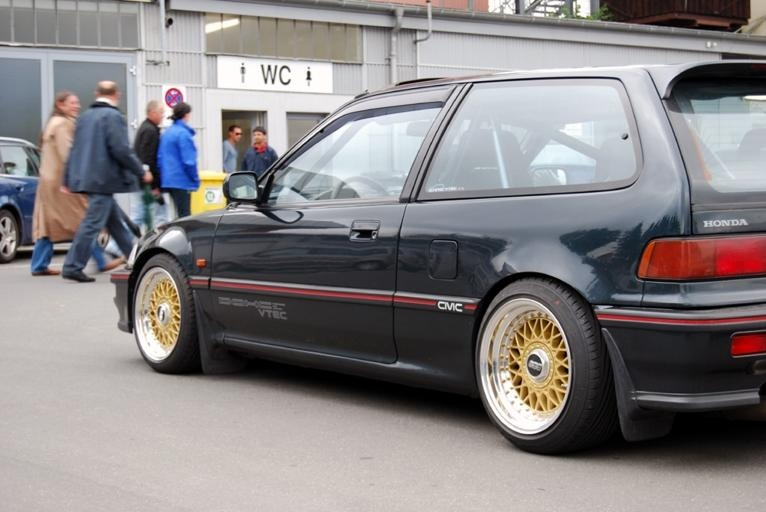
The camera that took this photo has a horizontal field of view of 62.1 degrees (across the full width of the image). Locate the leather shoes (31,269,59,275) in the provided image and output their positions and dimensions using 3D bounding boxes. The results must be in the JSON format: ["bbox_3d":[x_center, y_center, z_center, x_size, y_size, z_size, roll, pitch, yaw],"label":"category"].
[{"bbox_3d":[-5.828,0.271,10.987,0.361,0.147,0.132,-4,5,-25],"label":"leather shoes"}]
